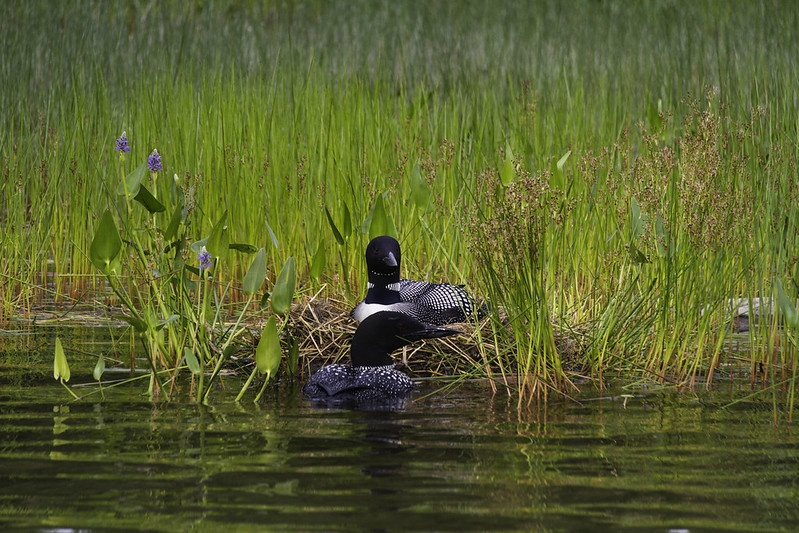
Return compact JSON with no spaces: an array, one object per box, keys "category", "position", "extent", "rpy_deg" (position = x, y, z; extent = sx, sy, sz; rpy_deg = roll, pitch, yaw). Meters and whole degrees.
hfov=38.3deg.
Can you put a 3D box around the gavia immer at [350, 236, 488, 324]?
[{"category":"gavia immer","position":[0.114,0.089,7.441],"extent":[0.764,0.475,0.532],"rpy_deg":[1,0,-14]}]

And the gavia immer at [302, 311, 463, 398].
[{"category":"gavia immer","position":[-0.153,0.513,6.868],"extent":[1.023,0.591,0.409],"rpy_deg":[-7,12,-27]}]

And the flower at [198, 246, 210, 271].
[{"category":"flower","position":[-1.141,-0.054,6.740],"extent":[0.096,0.134,0.095],"rpy_deg":[-2,51,-11]}]
